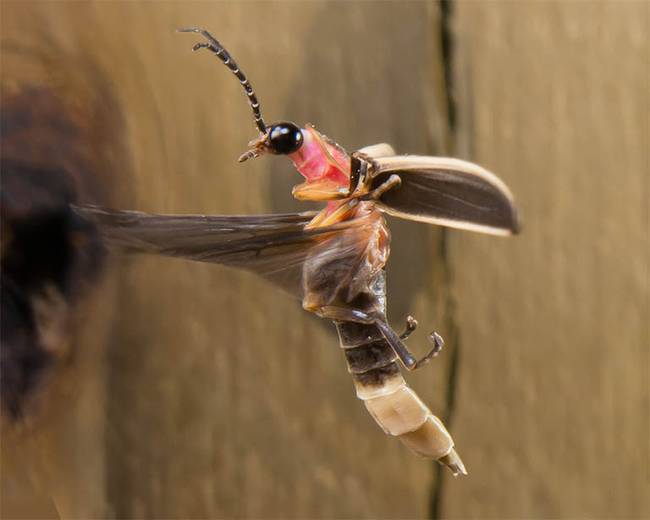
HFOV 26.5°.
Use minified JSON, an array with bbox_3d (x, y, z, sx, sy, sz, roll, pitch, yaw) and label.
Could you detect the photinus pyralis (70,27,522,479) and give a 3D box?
[{"bbox_3d":[-0.029,-0.024,1.946,0.597,0.598,0.253,30,72,-9],"label":"photinus pyralis"}]
